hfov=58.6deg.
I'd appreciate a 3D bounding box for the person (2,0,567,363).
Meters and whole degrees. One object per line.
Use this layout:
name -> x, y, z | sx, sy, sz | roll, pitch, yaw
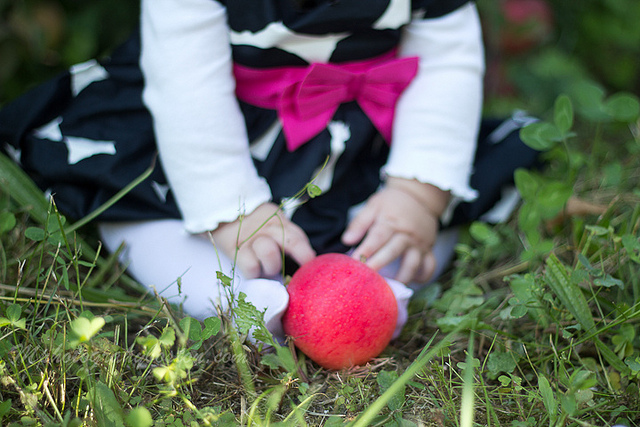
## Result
person -> -0.132, -0.207, 1.702 | 1.612, 0.532, 1.085 | 11, 59, 6
